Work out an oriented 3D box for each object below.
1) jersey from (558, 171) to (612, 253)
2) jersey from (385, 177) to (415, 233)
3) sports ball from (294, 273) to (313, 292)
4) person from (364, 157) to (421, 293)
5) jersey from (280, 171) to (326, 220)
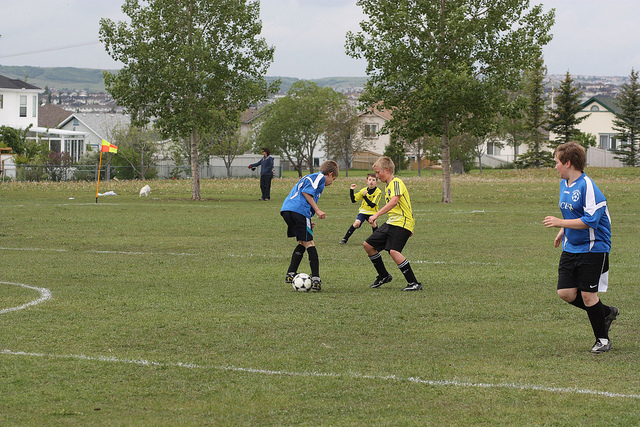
[{"bbox_3d":[3.875,-0.004,13.290,0.722,1.179,0.418,1,4,15],"label":"jersey"},{"bbox_3d":[1.410,-0.136,16.119,0.467,0.968,0.633,1,3,4],"label":"jersey"},{"bbox_3d":[-0.316,1.200,15.707,0.325,0.265,0.288,4,-24,-5],"label":"sports ball"},{"bbox_3d":[1.317,0.225,16.304,1.317,2.360,1.178,5,-8,-30],"label":"person"},{"bbox_3d":[-0.300,-0.311,16.111,0.776,0.842,0.395,0,3,-2],"label":"jersey"}]
